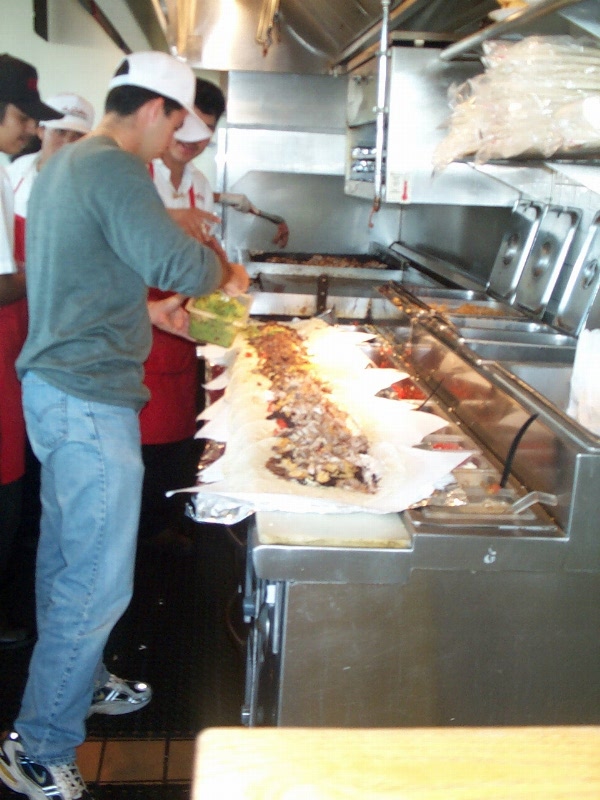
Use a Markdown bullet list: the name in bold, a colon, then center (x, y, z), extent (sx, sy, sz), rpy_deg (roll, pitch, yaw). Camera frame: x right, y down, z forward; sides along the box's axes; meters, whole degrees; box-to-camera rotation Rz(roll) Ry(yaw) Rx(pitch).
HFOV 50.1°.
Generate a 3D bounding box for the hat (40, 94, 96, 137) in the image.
- **hat**: center (-0.973, -1.196, 2.735), extent (0.184, 0.116, 0.255), rpy_deg (-1, 19, -25)

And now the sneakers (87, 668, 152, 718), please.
- **sneakers**: center (-0.508, 0.820, 1.815), extent (0.189, 0.076, 0.086), rpy_deg (-4, 12, -15)
